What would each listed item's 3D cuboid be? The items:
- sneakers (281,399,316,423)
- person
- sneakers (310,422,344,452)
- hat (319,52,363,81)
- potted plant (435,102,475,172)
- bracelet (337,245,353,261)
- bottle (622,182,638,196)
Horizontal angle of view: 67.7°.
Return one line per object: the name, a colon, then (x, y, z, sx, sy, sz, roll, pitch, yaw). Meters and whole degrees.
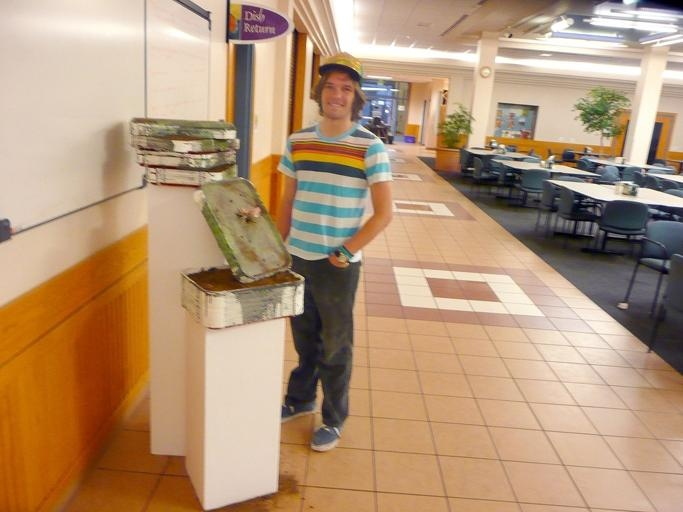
sneakers: (-0.274, 0.907, 2.987, 0.255, 0.079, 0.078, 1, 7, -23)
person: (-0.075, 0.025, 2.658, 0.415, 2.043, 0.541, -7, 23, -29)
sneakers: (-0.097, 0.986, 2.766, 0.118, 0.056, 0.169, 1, -3, 14)
hat: (-0.004, -0.909, 2.441, 0.206, 0.136, 0.167, 3, 18, -1)
potted plant: (3.611, -3.664, 16.134, 1.228, 1.945, 1.029, 2, 19, -24)
bracelet: (0.014, -0.016, 2.445, 0.041, 0.103, 0.034, -42, -10, -13)
bottle: (4.182, -0.969, 7.369, 0.195, 0.122, 0.191, 5, 4, 0)
